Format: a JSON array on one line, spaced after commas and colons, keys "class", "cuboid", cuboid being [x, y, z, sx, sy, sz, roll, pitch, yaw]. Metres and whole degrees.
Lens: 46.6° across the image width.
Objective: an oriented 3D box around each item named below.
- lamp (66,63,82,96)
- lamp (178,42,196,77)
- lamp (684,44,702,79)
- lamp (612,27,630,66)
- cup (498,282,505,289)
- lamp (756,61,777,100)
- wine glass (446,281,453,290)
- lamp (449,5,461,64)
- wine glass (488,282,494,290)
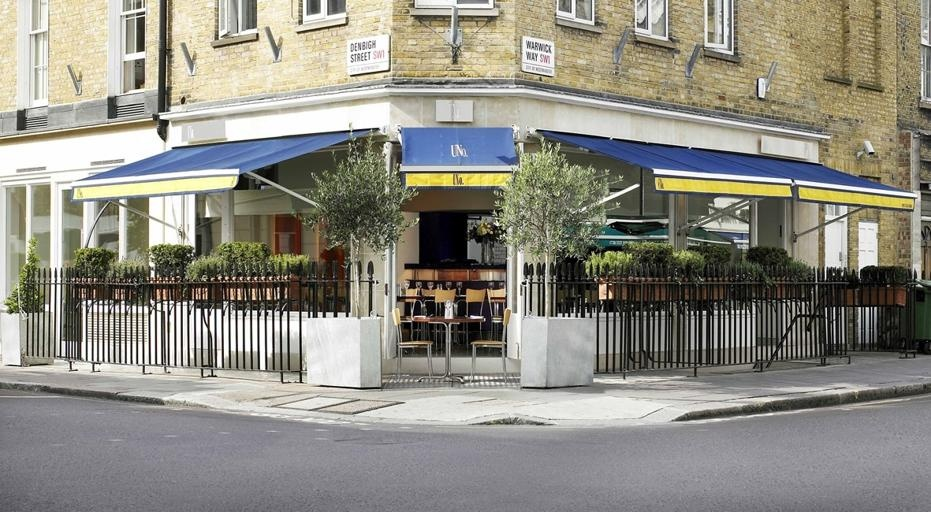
[{"class": "lamp", "cuboid": [-11.166, -5.029, 30.810, 0.504, 0.917, 0.169, -3, -7, 27]}, {"class": "lamp", "cuboid": [-7.407, -5.235, 28.721, 0.464, 0.905, 0.150, 0, -6, 4]}, {"class": "lamp", "cuboid": [6.059, -5.194, 28.821, 0.519, 0.870, 0.207, 3, -7, -27]}, {"class": "lamp", "cuboid": [3.982, -5.375, 27.725, 0.515, 0.949, 0.224, 5, -7, -36]}, {"class": "cup", "cuboid": [0.944, 0.817, 30.137, 0.183, 0.173, 0.325, 1, -3, 1]}, {"class": "lamp", "cuboid": [8.344, -4.893, 30.057, 0.760, 1.090, 0.185, 3, -7, -28]}, {"class": "wine glass", "cuboid": [-0.500, 0.810, 29.599, 0.130, 0.222, 0.054, 2, -1, -10]}, {"class": "lamp", "cuboid": [-0.316, -5.362, 26.227, 0.290, 1.369, 0.409, -2, -6, 20]}, {"class": "wine glass", "cuboid": [0.682, 0.826, 30.168, 0.116, 0.193, 0.071, 1, 2, 6]}]
